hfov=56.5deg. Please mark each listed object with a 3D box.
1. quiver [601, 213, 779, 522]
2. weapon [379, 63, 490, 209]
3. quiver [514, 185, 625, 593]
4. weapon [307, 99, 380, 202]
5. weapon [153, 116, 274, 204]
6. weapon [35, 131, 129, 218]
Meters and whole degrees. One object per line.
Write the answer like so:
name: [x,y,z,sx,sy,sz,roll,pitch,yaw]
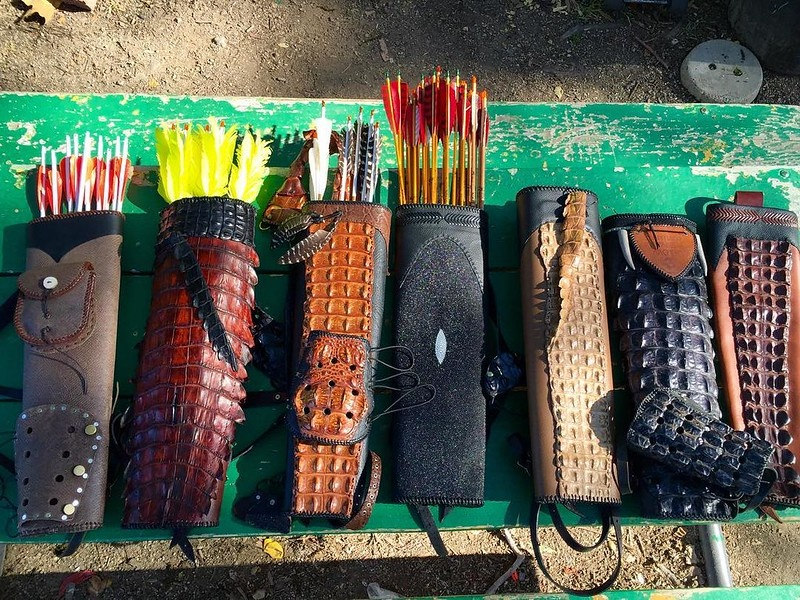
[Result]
quiver: [1.201,0.309,3.395,0.604,0.237,1.337,0,76,2]
weapon: [0.172,-0.762,3.547,0.468,0.526,0.644,-5,43,-12]
quiver: [0.745,0.262,3.309,0.426,0.241,1.885,-1,80,-2]
weapon: [-0.258,-0.666,3.470,0.318,0.168,0.499,0,80,-1]
weapon: [-0.886,-0.643,3.511,0.539,0.299,0.552,-3,44,-11]
weapon: [-1.504,-0.570,3.490,0.338,0.150,0.544,1,75,-10]
